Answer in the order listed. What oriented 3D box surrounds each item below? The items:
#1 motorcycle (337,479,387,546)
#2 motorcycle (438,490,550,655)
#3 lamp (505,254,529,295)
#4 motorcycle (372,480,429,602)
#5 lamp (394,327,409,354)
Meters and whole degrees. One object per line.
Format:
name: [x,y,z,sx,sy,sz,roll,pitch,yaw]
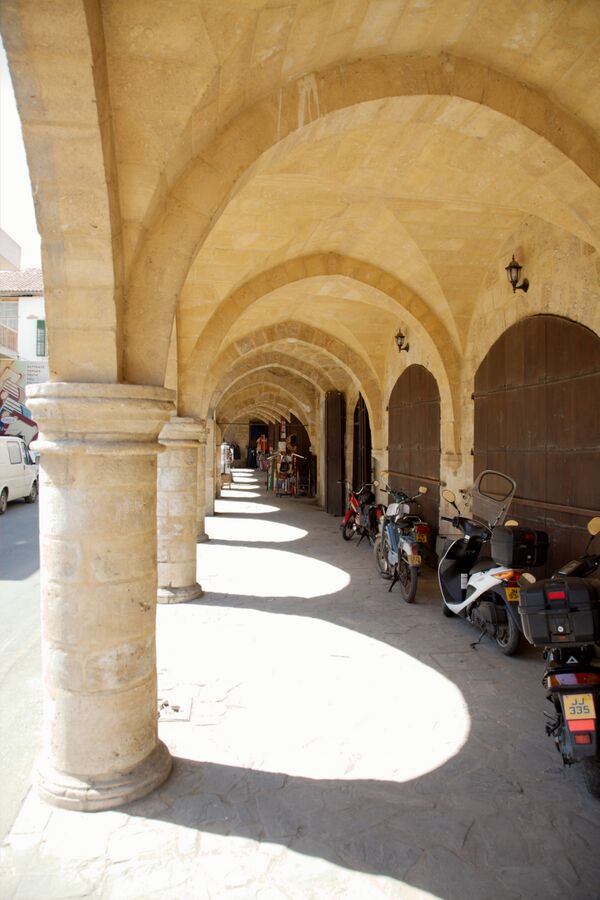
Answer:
motorcycle: [1.046,1.066,11.152,0.567,0.733,1.133,4,7,0]
motorcycle: [1.787,0.991,5.418,0.618,1.143,1.447,7,5,-7]
lamp: [2.130,-1.676,6.454,0.197,0.290,0.392,1,0,17]
motorcycle: [1.080,1.081,7.114,0.494,0.856,1.208,4,9,-1]
lamp: [1.639,-1.755,10.521,0.196,0.352,0.751,1,0,8]
